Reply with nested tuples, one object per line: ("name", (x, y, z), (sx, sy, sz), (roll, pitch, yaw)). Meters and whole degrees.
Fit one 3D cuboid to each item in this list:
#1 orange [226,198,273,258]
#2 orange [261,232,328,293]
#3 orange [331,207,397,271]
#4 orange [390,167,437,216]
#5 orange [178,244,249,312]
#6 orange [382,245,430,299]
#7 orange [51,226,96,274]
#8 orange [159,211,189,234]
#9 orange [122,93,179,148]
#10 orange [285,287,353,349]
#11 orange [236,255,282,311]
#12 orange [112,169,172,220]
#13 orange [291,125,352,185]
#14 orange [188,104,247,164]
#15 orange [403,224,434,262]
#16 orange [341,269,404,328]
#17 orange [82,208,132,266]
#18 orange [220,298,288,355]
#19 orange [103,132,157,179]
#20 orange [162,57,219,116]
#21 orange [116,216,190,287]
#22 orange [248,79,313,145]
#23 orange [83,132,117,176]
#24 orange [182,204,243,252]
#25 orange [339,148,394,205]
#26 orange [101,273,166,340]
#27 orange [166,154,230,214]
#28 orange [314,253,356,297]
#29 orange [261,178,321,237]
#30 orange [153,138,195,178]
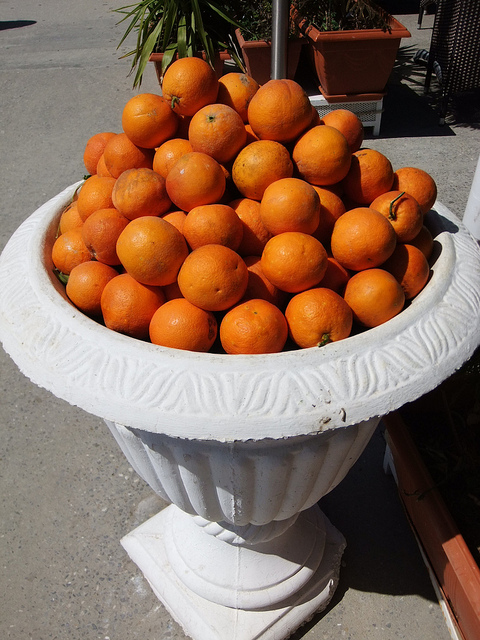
("orange", (0.031, -0.195, 1.228), (0.112, 0.128, 0.107), (-15, 16, -26))
("orange", (0.099, -0.108, 1.064), (0.113, 0.093, 0.096), (-16, 51, -7))
("orange", (0.221, -0.148, 1.095), (0.123, 0.111, 0.118), (1, 2, 2))
("orange", (0.388, -0.281, 1.284), (0.093, 0.083, 0.095), (8, 10, 23))
("orange", (-0.049, -0.076, 1.037), (0.113, 0.096, 0.097), (-34, 55, -20))
("orange", (0.331, -0.101, 1.190), (0.099, 0.098, 0.112), (0, 61, 2))
("orange", (-0.368, -0.154, 1.224), (0.073, 0.085, 0.077), (32, 25, 29))
("orange", (-0.127, -0.190, 1.150), (0.051, 0.059, 0.050), (4, 6, 12))
("orange", (-0.180, -0.414, 1.242), (0.112, 0.115, 0.115), (7, 65, -1))
("orange", (0.133, 0.004, 1.071), (0.111, 0.106, 0.104), (0, 53, -7))
("orange", (0.010, -0.069, 1.094), (0.096, 0.109, 0.092), (-4, 5, -10))
("orange", (-0.187, -0.238, 1.142), (0.118, 0.103, 0.109), (-6, 9, -9))
("orange", (0.170, -0.338, 1.193), (0.134, 0.123, 0.120), (-4, 6, -1))
("orange", (-0.040, -0.396, 1.187), (0.113, 0.102, 0.113), (-12, 27, -17))
("orange", (0.361, -0.157, 1.181), (0.054, 0.054, 0.063), (26, 53, -4))
("orange", (0.254, -0.046, 1.099), (0.116, 0.102, 0.108), (-10, 81, -13))
("orange", (-0.275, -0.181, 1.153), (0.095, 0.089, 0.102), (12, 55, -9))
("orange", (0.031, 0.019, 1.050), (0.099, 0.093, 0.101), (10, 59, 12))
("orange", (-0.257, -0.362, 1.243), (0.075, 0.083, 0.075), (9, -5, -37))
("orange", (-0.103, -0.496, 1.236), (0.122, 0.136, 0.114), (-4, 12, -22))
("orange", (-0.165, -0.130, 1.077), (0.113, 0.129, 0.113), (-5, 13, -5))
("orange", (0.081, -0.435, 1.196), (0.133, 0.144, 0.129), (17, 34, 29))
("orange", (-0.332, -0.393, 1.386), (0.078, 0.091, 0.077), (15, 8, -2))
("orange", (-0.057, -0.169, 1.117), (0.121, 0.112, 0.116), (-4, 21, 1))
("orange", (0.280, -0.314, 1.251), (0.117, 0.116, 0.107), (-8, 80, -11))
("orange", (-0.220, -0.022, 1.098), (0.112, 0.108, 0.119), (2, 73, 16))
("orange", (-0.085, -0.271, 1.140), (0.128, 0.114, 0.122), (2, 33, 6))
("orange", (0.189, -0.086, 1.184), (0.082, 0.094, 0.078), (-9, 44, -8))
("orange", (0.099, -0.218, 1.112), (0.116, 0.110, 0.121), (1, 14, 12))
("orange", (-0.151, -0.347, 1.216), (0.079, 0.090, 0.079), (5, 26, -6))
